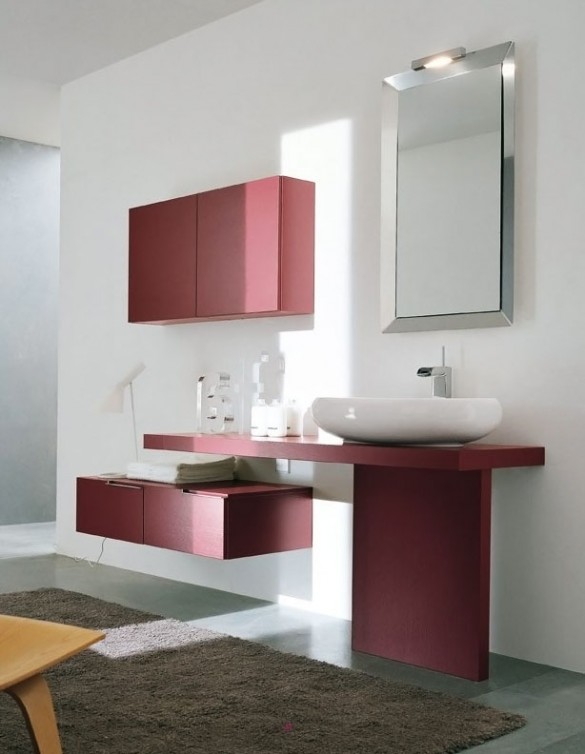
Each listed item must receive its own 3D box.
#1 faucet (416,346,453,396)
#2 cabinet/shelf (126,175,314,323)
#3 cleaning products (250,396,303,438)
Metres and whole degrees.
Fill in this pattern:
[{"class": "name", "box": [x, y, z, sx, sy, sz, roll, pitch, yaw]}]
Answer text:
[{"class": "faucet", "box": [0.494, -0.020, 2.512, 0.118, 0.165, 0.045, -6, 14, 1]}, {"class": "cabinet/shelf", "box": [-0.445, -0.555, 3.186, 1.072, 0.555, 0.236, 0, 1, 3]}, {"class": "cleaning products", "box": [-0.060, 0.158, 2.933, 0.161, 0.134, 0.159, 0, -1, 38]}]
